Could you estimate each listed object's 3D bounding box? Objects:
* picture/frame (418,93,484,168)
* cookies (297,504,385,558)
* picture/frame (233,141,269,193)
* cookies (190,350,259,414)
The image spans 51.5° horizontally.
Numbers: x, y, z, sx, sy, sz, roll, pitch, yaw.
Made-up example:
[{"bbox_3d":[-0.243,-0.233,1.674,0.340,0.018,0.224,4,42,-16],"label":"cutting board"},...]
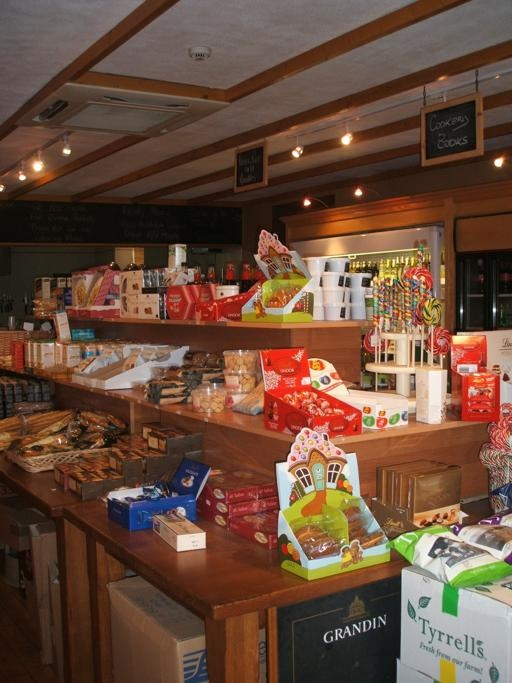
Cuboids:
[{"bbox_3d":[1.200,-1.270,3.225,0.123,0.386,0.437,-4,4,-34],"label":"picture/frame"},{"bbox_3d":[0.233,0.545,1.520,0.236,0.084,0.123,-7,11,-29],"label":"cookies"},{"bbox_3d":[-0.039,-1.429,4.378,0.043,0.341,0.384,-5,9,-41],"label":"picture/frame"},{"bbox_3d":[-0.124,0.195,2.565,0.374,0.289,0.215,0,0,-13],"label":"cookies"}]
